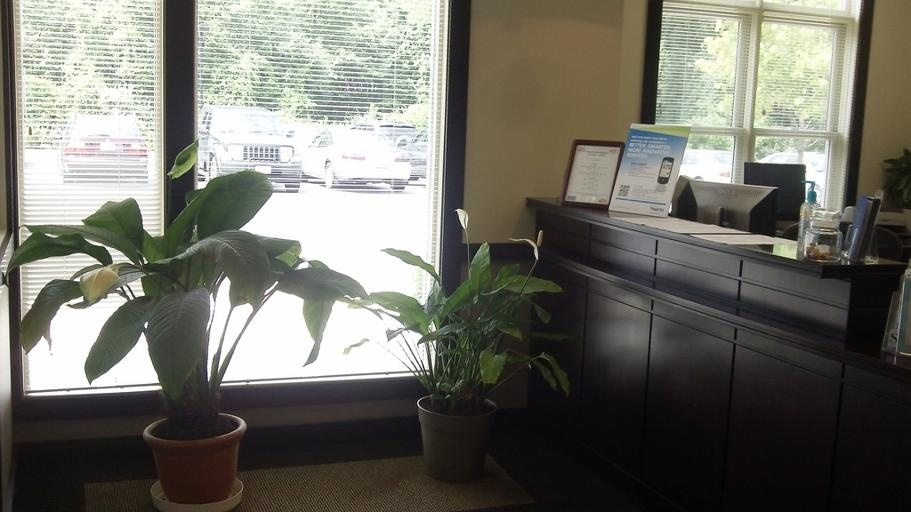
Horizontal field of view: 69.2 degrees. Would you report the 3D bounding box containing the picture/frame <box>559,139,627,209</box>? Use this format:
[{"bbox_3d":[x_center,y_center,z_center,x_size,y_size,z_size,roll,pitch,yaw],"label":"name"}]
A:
[{"bbox_3d":[0.933,-0.533,4.385,0.469,0.573,0.062,11,-9,13],"label":"picture/frame"}]

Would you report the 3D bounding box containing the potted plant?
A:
[{"bbox_3d":[-0.710,0.464,4.329,3.471,1.772,1.802,0,0,-25],"label":"potted plant"}]

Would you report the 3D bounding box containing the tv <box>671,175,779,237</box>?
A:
[{"bbox_3d":[1.741,-0.334,4.303,0.221,0.293,0.688,-7,16,-31],"label":"tv"}]
